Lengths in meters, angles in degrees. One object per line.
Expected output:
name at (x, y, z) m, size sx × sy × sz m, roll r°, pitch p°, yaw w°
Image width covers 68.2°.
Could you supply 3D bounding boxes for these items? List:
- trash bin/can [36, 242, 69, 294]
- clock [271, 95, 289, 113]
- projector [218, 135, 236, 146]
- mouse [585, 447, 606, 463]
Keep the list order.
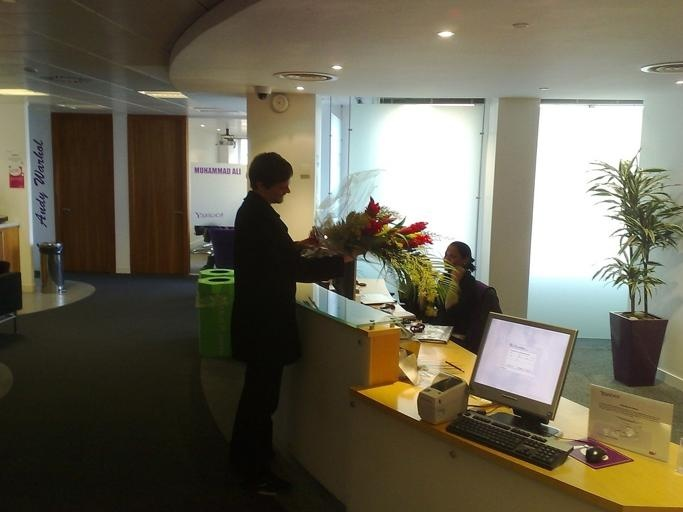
trash bin/can at (-5.128, 0.206, 8.969) m, size 0.361 × 0.857 × 0.410 m, roll -5°, pitch 12°, yaw -31°
clock at (-0.823, -2.077, 6.891) m, size 0.206 × 0.227 × 0.079 m, roll 10°, pitch 12°, yaw 0°
projector at (-3.427, -3.483, 15.231) m, size 0.397 × 0.248 × 0.278 m, roll 2°, pitch 3°, yaw -3°
mouse at (1.322, 1.024, 2.606) m, size 0.126 × 0.061 × 0.059 m, roll -1°, pitch 11°, yaw -12°
